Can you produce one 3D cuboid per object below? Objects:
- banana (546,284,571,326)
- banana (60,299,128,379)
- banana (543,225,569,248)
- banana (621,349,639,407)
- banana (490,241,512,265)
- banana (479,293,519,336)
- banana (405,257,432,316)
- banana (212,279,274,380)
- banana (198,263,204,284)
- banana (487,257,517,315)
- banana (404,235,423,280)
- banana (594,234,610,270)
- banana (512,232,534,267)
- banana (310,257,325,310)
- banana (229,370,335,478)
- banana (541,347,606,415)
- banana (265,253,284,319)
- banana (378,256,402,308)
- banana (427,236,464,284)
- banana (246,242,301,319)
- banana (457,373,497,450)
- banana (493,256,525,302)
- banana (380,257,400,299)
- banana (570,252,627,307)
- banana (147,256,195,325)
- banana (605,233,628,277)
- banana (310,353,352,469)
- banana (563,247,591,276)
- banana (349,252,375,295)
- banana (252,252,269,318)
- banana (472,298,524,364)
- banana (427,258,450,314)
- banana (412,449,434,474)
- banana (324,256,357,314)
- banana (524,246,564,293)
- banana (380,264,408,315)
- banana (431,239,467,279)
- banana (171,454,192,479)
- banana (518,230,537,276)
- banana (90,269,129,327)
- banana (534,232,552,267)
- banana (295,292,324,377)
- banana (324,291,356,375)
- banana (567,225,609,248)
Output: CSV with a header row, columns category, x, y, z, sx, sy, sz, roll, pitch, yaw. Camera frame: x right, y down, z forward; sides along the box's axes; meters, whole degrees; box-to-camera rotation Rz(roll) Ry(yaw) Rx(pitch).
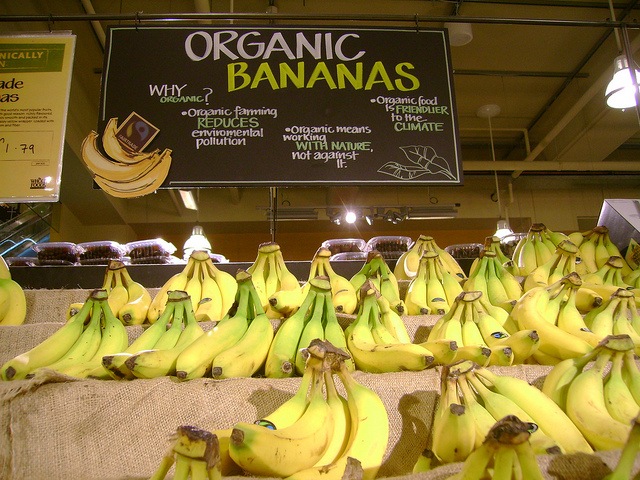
category,x,y,z,sx,sy,sz,roll,pitch,yaw
banana,0.979,0.273,1.844,0.069,0.191,0.050,49,-30,-19
banana,-0.794,0.363,1.705,0.093,0.330,0.212,-2,-49,8
banana,2.223,-0.053,4.226,0.095,0.128,0.342,-20,19,1
banana,0.999,0.455,1.450,0.037,0.165,0.055,-7,-5,-10
banana,1.169,0.086,2.903,0.067,0.202,0.047,-30,14,-25
banana,0.753,0.324,1.901,0.043,0.171,0.058,-36,-20,-2
banana,0.501,0.267,2.187,0.085,0.196,0.298,13,35,-3
banana,-0.230,0.360,1.655,0.097,0.228,0.335,-5,21,10
banana,-0.568,0.165,2.140,0.020,0.083,0.019,-2,8,4
banana,0.856,0.229,2.140,0.067,0.229,0.145,-9,-33,-3
banana,0.545,0.098,2.645,0.079,0.302,0.108,34,-55,-11
banana,1.637,0.077,2.605,0.051,0.203,0.068,20,-34,10
banana,1.313,0.071,2.916,0.073,0.219,0.049,19,3,-25
banana,-0.019,0.192,2.142,0.049,0.195,0.037,2,4,0
banana,-0.107,0.541,1.289,0.117,0.246,0.360,1,-8,29
banana,0.799,0.466,1.430,0.124,0.093,0.334,21,41,23
banana,-0.212,0.224,2.086,0.115,0.365,0.072,-3,-25,-1
banana,0.333,0.227,2.181,0.080,0.315,0.106,-9,-43,1
banana,0.941,0.134,3.347,0.063,0.369,0.126,-28,-9,-8
banana,-0.223,0.176,2.086,0.202,0.367,0.149,-6,-41,-8
banana,0.453,0.490,1.368,0.064,0.087,0.251,-34,-5,14
banana,0.958,0.209,2.294,0.054,0.208,0.069,-33,-40,14
banana,0.369,0.192,2.275,0.058,0.230,0.080,-12,25,24
banana,1.327,0.198,2.148,0.076,0.150,0.389,-16,24,-6
banana,-0.619,0.216,2.018,0.100,0.154,0.439,23,5,-15
banana,1.660,0.093,2.517,0.053,0.241,0.077,-25,-23,-6
banana,0.052,0.488,1.331,0.090,0.335,0.111,-16,-37,32
banana,1.321,0.121,2.316,0.064,0.134,0.197,-10,-26,22
banana,0.211,0.175,2.286,0.052,0.178,0.112,19,-27,26
banana,-0.272,0.209,2.103,0.066,0.309,0.103,6,-32,-17
banana,0.691,0.375,1.767,0.066,0.090,0.259,-34,30,-13
banana,0.575,0.244,2.185,0.059,0.266,0.090,-5,-40,13
banana,0.293,0.631,1.265,0.039,0.033,0.100,7,-45,-12
banana,0.103,0.222,2.037,0.072,0.168,0.251,-17,24,8
banana,1.118,0.153,2.234,0.193,0.059,0.129,-45,-10,-22
banana,0.356,0.250,2.177,0.057,0.198,0.126,-16,-24,-2
banana,0.966,0.134,3.340,0.074,0.358,0.135,-37,-18,8
banana,-0.298,0.496,0.974,0.036,0.053,0.017,2,-3,-3
banana,1.218,0.087,2.636,0.061,0.249,0.083,13,-23,15
banana,-0.998,0.335,2.171,0.095,0.204,0.306,-29,1,-26
banana,1.274,0.068,2.586,0.053,0.072,0.209,-33,14,19
banana,-0.030,0.336,1.666,0.078,0.313,0.103,18,-20,9
banana,0.060,0.345,1.670,0.088,0.341,0.116,-16,-23,2
banana,1.661,-0.021,2.782,0.166,0.063,0.140,3,-8,41
